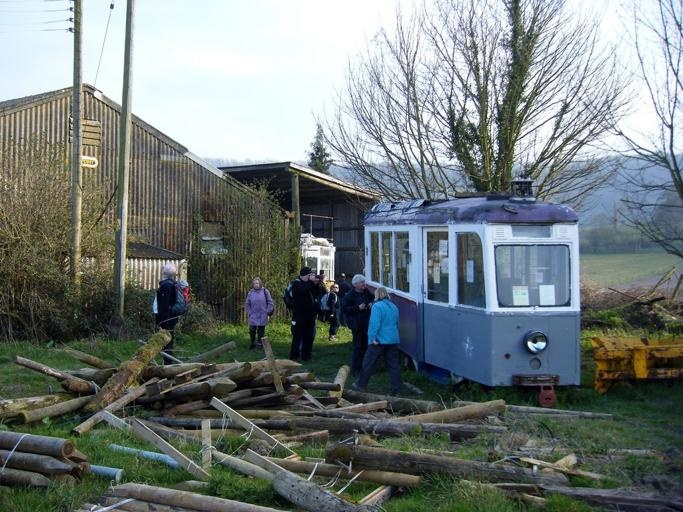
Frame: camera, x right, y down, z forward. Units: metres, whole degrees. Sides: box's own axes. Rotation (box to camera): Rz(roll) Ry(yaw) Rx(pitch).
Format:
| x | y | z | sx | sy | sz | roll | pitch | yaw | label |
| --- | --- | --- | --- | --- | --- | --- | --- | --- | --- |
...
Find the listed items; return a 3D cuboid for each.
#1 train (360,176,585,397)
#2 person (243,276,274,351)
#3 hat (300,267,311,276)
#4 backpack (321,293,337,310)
| x | y | z | sx | sy | sz | roll | pitch | yaw | label |
| --- | --- | --- | --- | --- | --- | --- | --- | --- | --- |
| 2.552 | 0.539 | 13.416 | 1.620 | 4.018 | 4.545 | 3 | -4 | -24 | train |
| -2.249 | 1.530 | 17.411 | 0.573 | 1.885 | 0.714 | 4 | -4 | -33 | person |
| -0.898 | 0.365 | 16.140 | 0.170 | 0.177 | 0.222 | 2 | -3 | -45 | hat |
| -0.350 | 1.290 | 18.730 | 0.447 | 0.517 | 0.359 | 9 | -1 | -2 | backpack |
